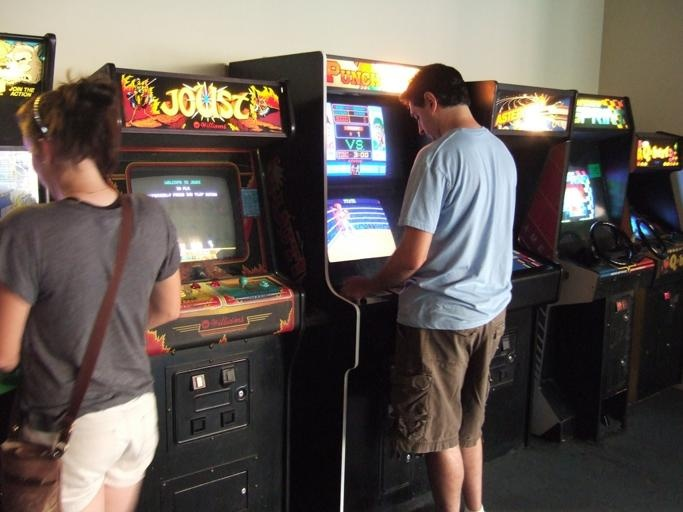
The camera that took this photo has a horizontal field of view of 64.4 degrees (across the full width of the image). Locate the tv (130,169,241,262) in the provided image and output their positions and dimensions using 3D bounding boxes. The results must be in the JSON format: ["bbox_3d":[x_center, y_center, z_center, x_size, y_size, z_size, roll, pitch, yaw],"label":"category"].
[{"bbox_3d":[-0.678,-0.132,2.303,0.489,0.452,0.250,-4,-11,-43],"label":"tv"}]
